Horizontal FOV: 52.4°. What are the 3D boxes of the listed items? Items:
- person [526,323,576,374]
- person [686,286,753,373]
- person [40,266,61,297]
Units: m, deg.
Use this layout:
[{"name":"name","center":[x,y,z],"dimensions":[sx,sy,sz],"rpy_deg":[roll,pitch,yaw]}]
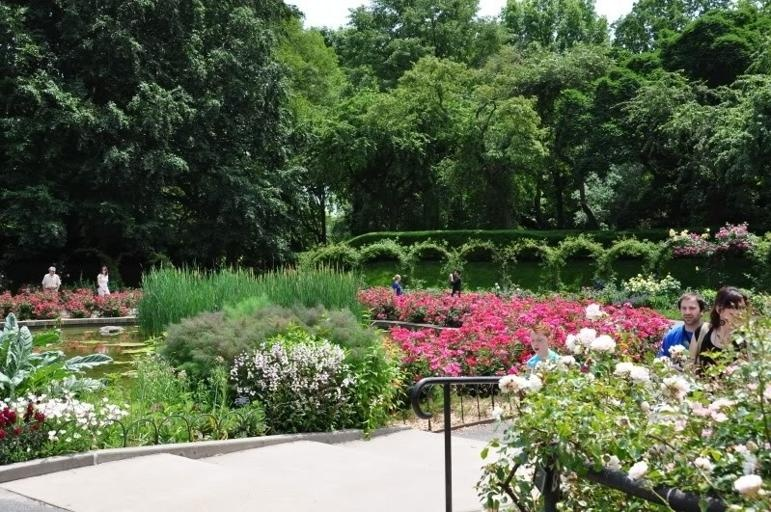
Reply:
[{"name":"person","center":[2.660,1.520,13.329],"dimensions":[0.753,0.776,0.504],"rpy_deg":[-4,4,44]},{"name":"person","center":[5.447,1.151,12.848],"dimensions":[0.899,1.201,0.629],"rpy_deg":[0,12,-1]},{"name":"person","center":[-11.121,0.811,25.955],"dimensions":[0.486,1.005,1.385],"rpy_deg":[-5,14,-25]}]
